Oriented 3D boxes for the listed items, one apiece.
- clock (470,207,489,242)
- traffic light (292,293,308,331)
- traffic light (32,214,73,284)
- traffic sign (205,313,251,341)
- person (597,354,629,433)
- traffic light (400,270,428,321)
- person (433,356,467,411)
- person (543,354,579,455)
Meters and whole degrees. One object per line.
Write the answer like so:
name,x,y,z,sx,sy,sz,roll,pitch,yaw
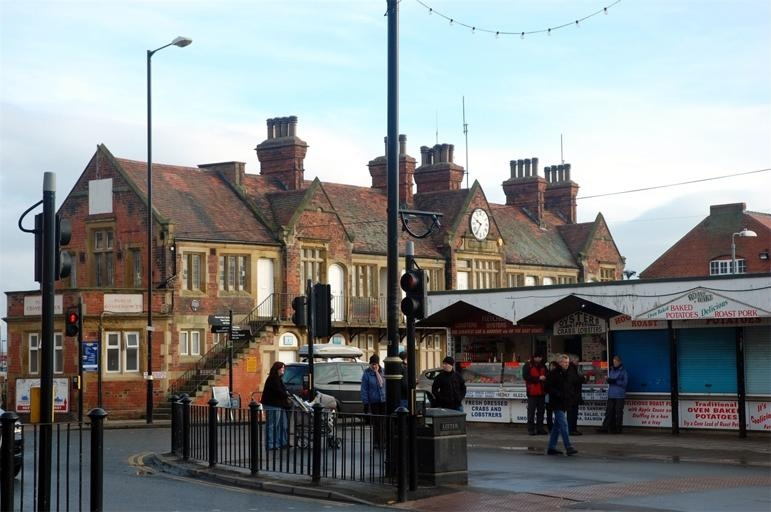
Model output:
clock,4.751,-1.631,74.160,0.162,1.599,1.652,-4,5,-30
traffic light,-2.550,1.622,44.439,0.426,0.865,0.605,-1,-6,-7
traffic light,-7.665,-0.206,33.958,0.784,1.646,1.158,-1,-6,-14
traffic sign,-5.768,2.653,54.266,1.475,0.856,1.417,2,-4,-8
person,7.209,4.358,46.427,0.858,2.374,0.678,-3,-6,8
traffic light,0.723,0.948,37.023,0.661,1.258,0.554,-2,-6,1
person,1.814,3.627,42.241,0.912,1.527,1.042,-2,-6,1
person,4.804,4.174,41.043,1.036,2.762,1.247,4,-8,-8
